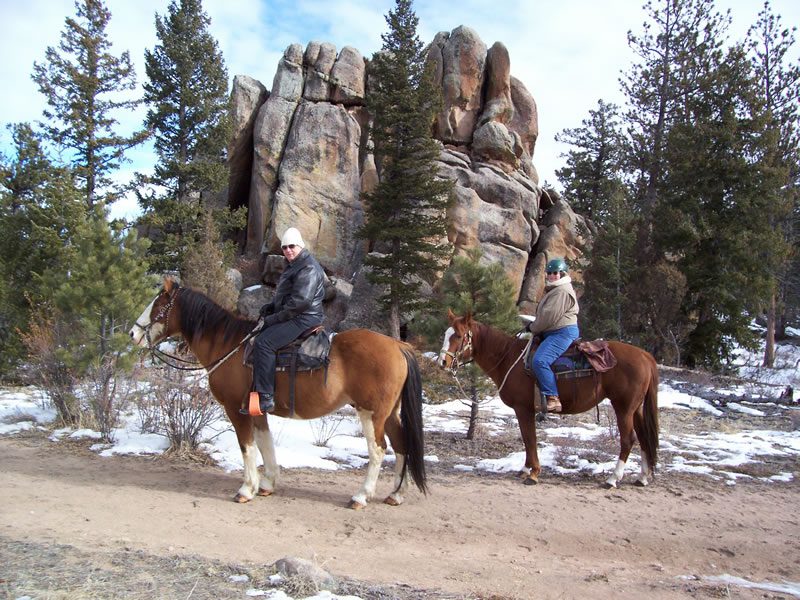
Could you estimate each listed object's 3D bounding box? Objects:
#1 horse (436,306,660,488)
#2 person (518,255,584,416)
[{"bbox_3d":[3.740,2.766,19.314,5.205,4.861,1.616,3,-24,7],"label":"horse"},{"bbox_3d":[3.674,0.921,18.935,0.955,3.646,1.264,11,15,38],"label":"person"}]
